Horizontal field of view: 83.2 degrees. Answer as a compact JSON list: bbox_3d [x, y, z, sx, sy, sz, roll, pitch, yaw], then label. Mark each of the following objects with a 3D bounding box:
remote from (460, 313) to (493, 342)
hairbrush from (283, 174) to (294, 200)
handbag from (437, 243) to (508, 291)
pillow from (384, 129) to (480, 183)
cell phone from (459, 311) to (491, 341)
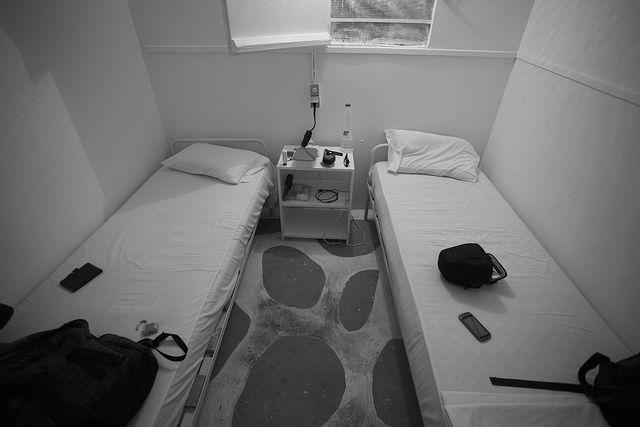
[{"bbox_3d":[1.004,0.723,2.326,0.101,0.040,0.185,-11,40,-17],"label":"remote"},{"bbox_3d":[-0.310,-0.260,3.607,0.069,0.072,0.256,8,69,2],"label":"hairbrush"},{"bbox_3d":[1.076,0.358,2.541,0.363,0.188,0.329,5,37,-6],"label":"handbag"},{"bbox_3d":[1.127,-0.553,3.485,0.864,0.197,0.491,2,70,0],"label":"pillow"},{"bbox_3d":[1.001,0.721,2.328,0.108,0.039,0.187,-17,44,-18],"label":"cell phone"}]
